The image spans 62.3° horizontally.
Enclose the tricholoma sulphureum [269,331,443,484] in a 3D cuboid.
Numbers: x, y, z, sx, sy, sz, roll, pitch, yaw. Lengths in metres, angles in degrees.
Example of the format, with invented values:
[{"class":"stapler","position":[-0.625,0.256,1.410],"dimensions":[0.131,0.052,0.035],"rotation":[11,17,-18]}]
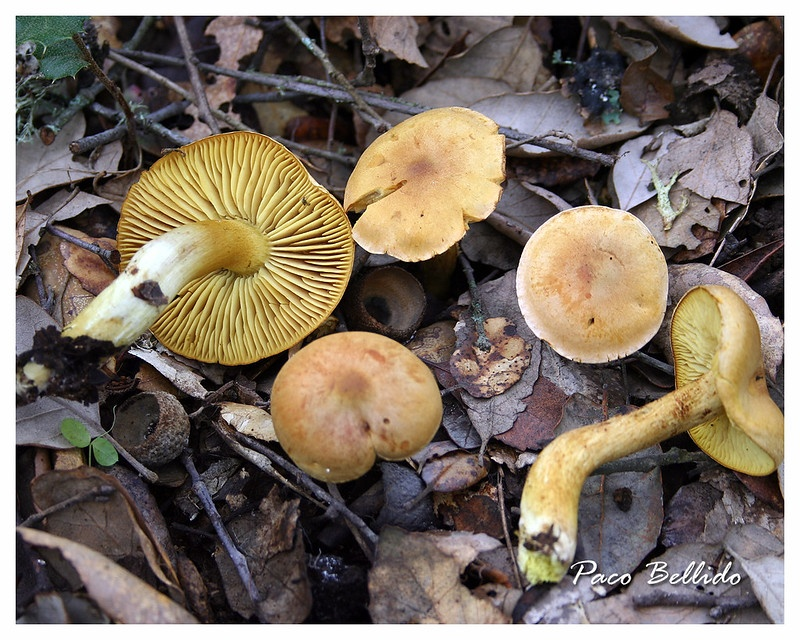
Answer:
[{"class":"tricholoma sulphureum","position":[-0.189,0.346,2.697],"dimensions":[0.623,0.453,0.464],"rotation":[1,42,-23]}]
